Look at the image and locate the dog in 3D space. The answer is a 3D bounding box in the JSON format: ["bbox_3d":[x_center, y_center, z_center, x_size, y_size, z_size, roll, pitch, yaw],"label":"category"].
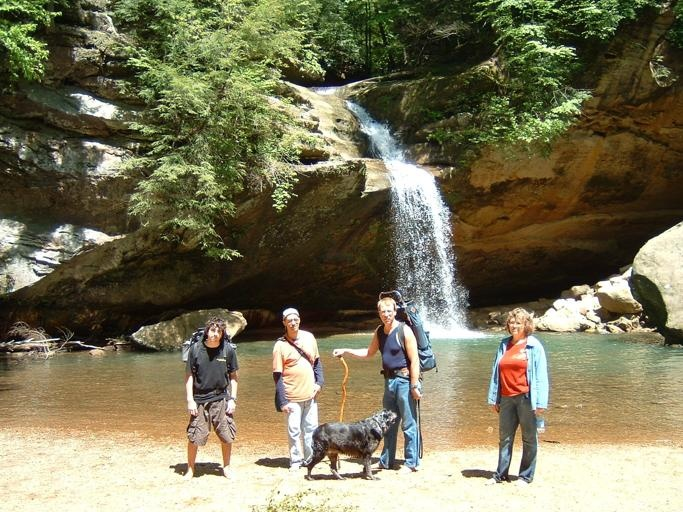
[{"bbox_3d":[0.098,2.606,9.101,1.575,0.748,0.411,5,-17,-30],"label":"dog"}]

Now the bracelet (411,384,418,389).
[{"bbox_3d":[0.993,1.800,9.160,0.103,0.035,0.096,0,-7,8],"label":"bracelet"}]

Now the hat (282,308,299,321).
[{"bbox_3d":[-0.721,0.839,9.478,0.237,0.122,0.276,-2,2,-9],"label":"hat"}]

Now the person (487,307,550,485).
[{"bbox_3d":[2.378,1.904,9.034,0.760,2.349,0.804,1,14,13],"label":"person"}]

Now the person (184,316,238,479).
[{"bbox_3d":[-1.825,1.981,9.235,0.827,2.177,0.704,-4,13,-7],"label":"person"}]
